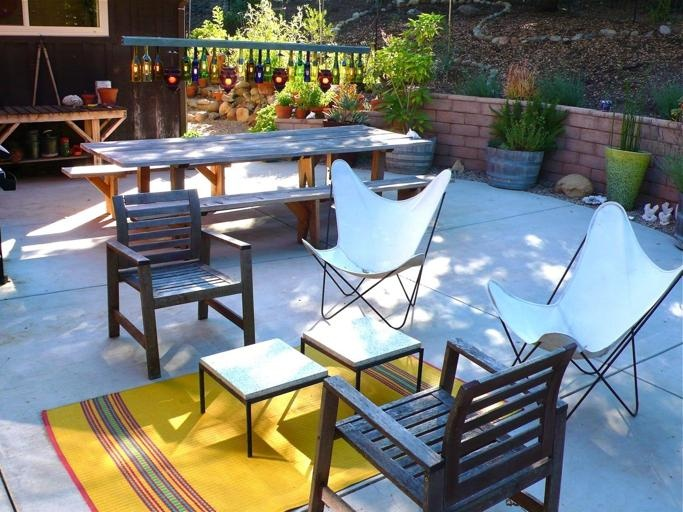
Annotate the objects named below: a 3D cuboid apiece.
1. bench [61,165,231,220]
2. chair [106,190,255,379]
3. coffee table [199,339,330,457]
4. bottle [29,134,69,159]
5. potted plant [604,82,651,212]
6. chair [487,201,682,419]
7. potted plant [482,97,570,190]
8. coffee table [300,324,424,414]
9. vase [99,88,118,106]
[{"bbox_3d":[-2.056,-0.646,5.291,1.126,0.313,0.323,-6,35,-28],"label":"bench"},{"bbox_3d":[-1.133,0.219,3.562,1.030,1.289,0.997,-12,25,-35],"label":"chair"},{"bbox_3d":[-0.393,0.603,2.646,0.541,0.331,0.551,-15,26,-35],"label":"coffee table"},{"bbox_3d":[-4.297,-1.583,7.498,0.323,0.342,0.524,13,19,32],"label":"bottle"},{"bbox_3d":[3.916,-1.515,7.059,0.544,1.517,1.543,10,23,24],"label":"potted plant"},{"bbox_3d":[1.655,0.359,3.492,1.219,1.265,0.980,-11,31,-19],"label":"chair"},{"bbox_3d":[2.683,-1.640,7.593,1.034,1.289,0.541,6,23,16],"label":"potted plant"},{"bbox_3d":[0.103,0.543,3.002,0.477,0.355,0.490,-14,27,-33],"label":"coffee table"},{"bbox_3d":[-3.559,-2.412,7.873,0.285,0.243,0.277,-13,21,-29],"label":"vase"}]
